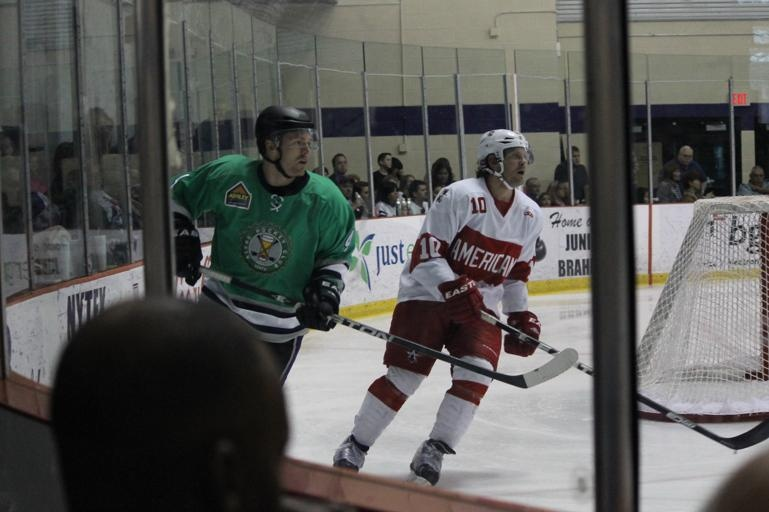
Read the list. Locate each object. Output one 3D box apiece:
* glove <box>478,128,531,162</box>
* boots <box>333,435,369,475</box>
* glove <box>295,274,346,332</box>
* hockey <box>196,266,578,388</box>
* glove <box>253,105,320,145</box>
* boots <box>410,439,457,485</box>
[{"bbox_3d":[0.885,-0.859,7.875,0.299,0.310,0.243,-14,16,13],"label":"glove"},{"bbox_3d":[-0.242,1.409,7.603,0.200,0.210,0.437,5,7,4],"label":"boots"},{"bbox_3d":[-0.429,0.306,7.323,0.260,0.419,0.184,10,-5,36],"label":"glove"},{"bbox_3d":[0.021,0.553,7.809,2.043,0.246,0.351,22,-21,25],"label":"hockey"},{"bbox_3d":[-0.706,-0.920,7.380,0.294,0.217,0.268,3,8,10],"label":"glove"},{"bbox_3d":[0.334,1.448,7.434,0.266,0.279,0.167,14,-4,-8],"label":"boots"}]
